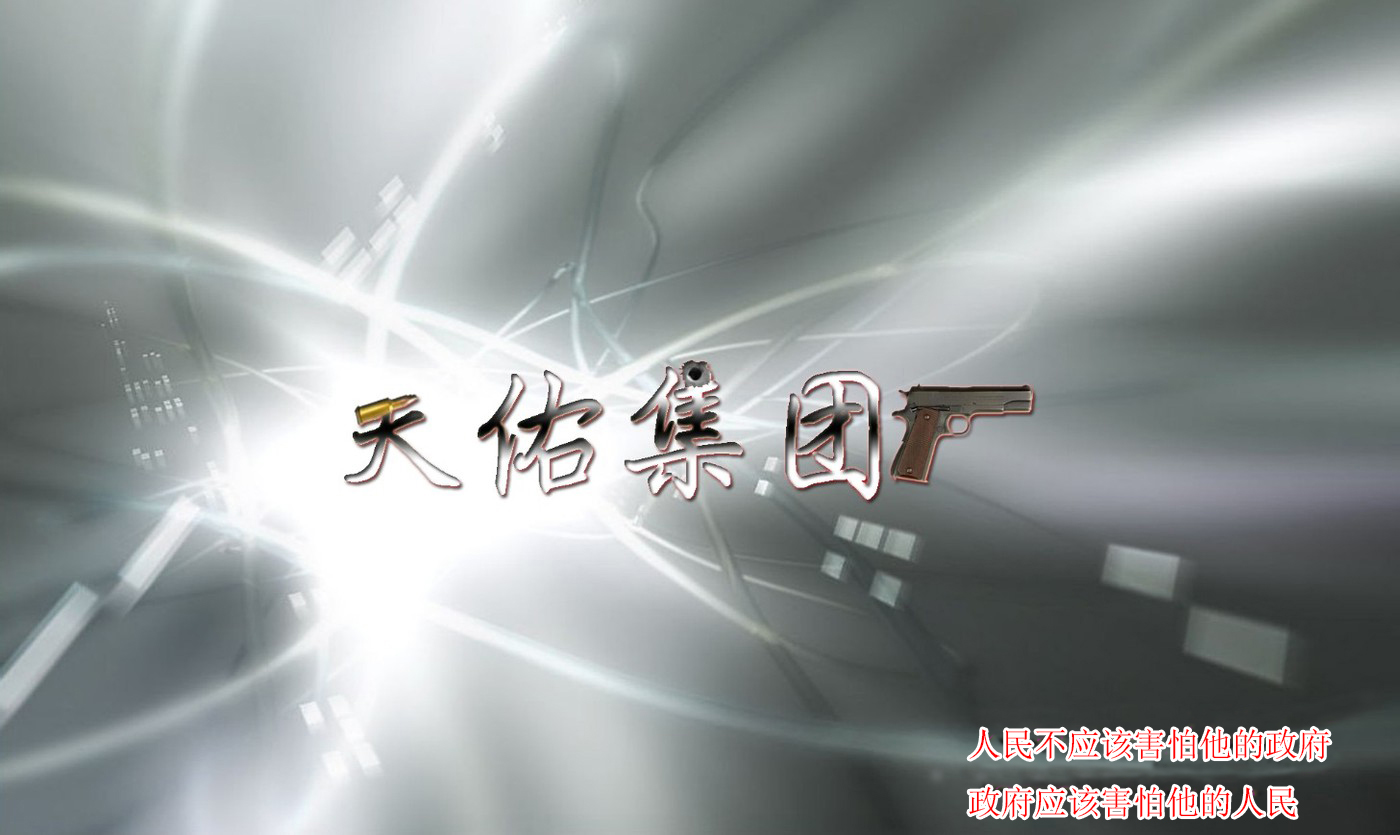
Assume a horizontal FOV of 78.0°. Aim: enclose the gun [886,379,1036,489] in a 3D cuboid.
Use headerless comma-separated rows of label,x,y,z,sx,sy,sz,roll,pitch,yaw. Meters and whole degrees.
gun,1.459,0.051,5.073,0.653,0.470,0.155,3,-8,4
